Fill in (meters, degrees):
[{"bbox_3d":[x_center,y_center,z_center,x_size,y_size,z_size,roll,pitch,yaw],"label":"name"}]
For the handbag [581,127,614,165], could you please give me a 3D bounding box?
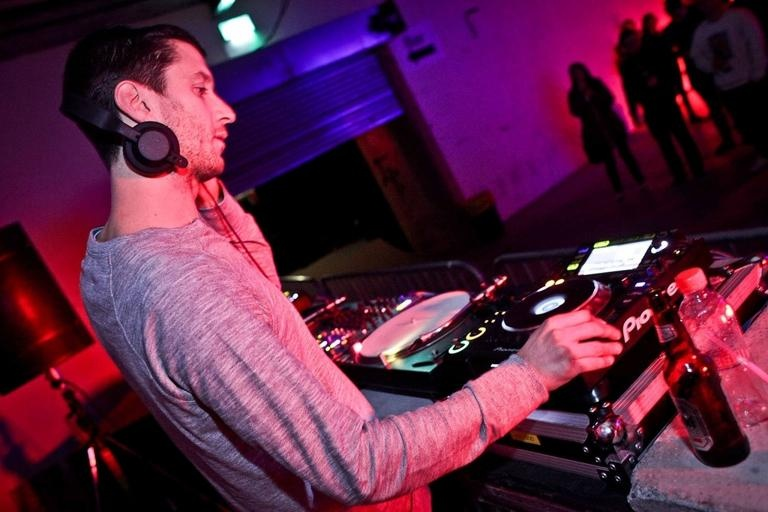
[{"bbox_3d":[0.823,-0.436,2.225,0.108,0.144,0.043,-42,17,-19],"label":"handbag"}]
